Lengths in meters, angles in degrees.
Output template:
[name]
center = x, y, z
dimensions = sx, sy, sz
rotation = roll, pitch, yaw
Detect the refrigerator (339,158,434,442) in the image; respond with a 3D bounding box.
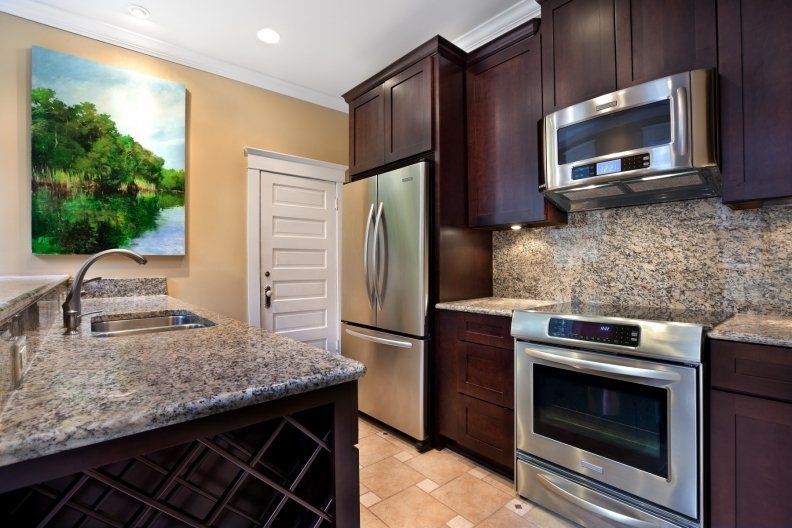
[refrigerator]
center = -0.071, 0.250, 3.998
dimensions = 0.278, 1.977, 0.909
rotation = -7, 6, -41

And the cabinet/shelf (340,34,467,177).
[cabinet/shelf]
center = 0.084, -0.836, 4.239
dimensions = 0.420, 1.295, 1.355
rotation = 7, -7, -35

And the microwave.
[microwave]
center = 1.432, -0.700, 3.243
dimensions = 1.013, 0.615, 0.576
rotation = -9, -17, 42
